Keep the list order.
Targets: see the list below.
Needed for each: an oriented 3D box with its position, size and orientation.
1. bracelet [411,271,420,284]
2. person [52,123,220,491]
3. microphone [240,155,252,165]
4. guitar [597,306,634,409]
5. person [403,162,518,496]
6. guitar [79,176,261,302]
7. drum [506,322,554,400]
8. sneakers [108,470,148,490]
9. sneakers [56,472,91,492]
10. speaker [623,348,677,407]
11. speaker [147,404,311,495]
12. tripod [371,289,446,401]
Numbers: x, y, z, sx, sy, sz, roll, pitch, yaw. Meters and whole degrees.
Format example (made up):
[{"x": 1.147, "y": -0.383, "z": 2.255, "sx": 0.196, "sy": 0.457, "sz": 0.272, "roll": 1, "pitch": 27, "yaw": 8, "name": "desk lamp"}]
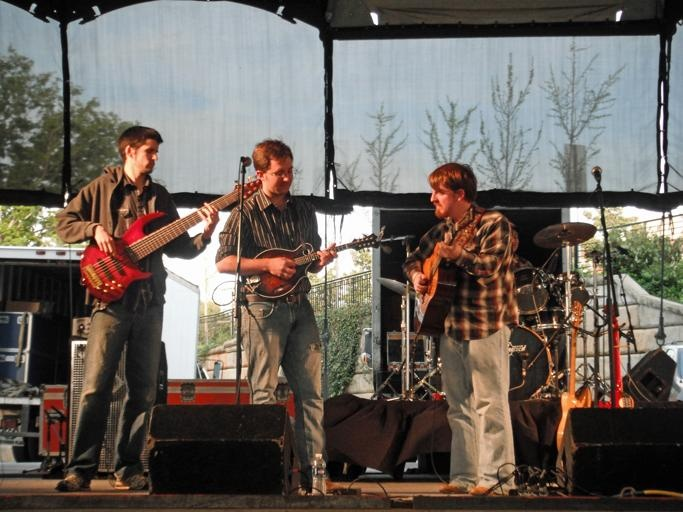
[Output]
[{"x": 0.608, "y": 0.183, "z": 9.861, "sx": 0.070, "sy": 0.072, "sz": 0.070, "roll": 3, "pitch": -25, "yaw": 4, "name": "bracelet"}, {"x": -1.612, "y": 0.400, "z": 9.833, "sx": 1.195, "sy": 2.954, "sz": 0.881, "roll": 2, "pitch": -3, "yaw": -24, "name": "person"}, {"x": -0.762, "y": -0.761, "z": 9.813, "sx": 0.073, "sy": 0.079, "sz": 0.112, "roll": 7, "pitch": 5, "yaw": 19, "name": "microphone"}, {"x": 2.484, "y": 1.056, "z": 11.033, "sx": 0.421, "sy": 1.371, "sz": 0.447, "roll": 1, "pitch": 4, "yaw": 14, "name": "guitar"}, {"x": 0.963, "y": 0.678, "z": 9.711, "sx": 0.967, "sy": 2.701, "sz": 0.785, "roll": -1, "pitch": -4, "yaw": 18, "name": "person"}, {"x": -1.616, "y": 0.015, "z": 9.856, "sx": 0.910, "sy": 0.764, "sz": 0.221, "roll": 1, "pitch": -2, "yaw": -10, "name": "guitar"}, {"x": 1.863, "y": 1.031, "z": 11.983, "sx": 0.428, "sy": 0.721, "sz": 0.419, "roll": 2, "pitch": 2, "yaw": 0, "name": "drum"}, {"x": -1.703, "y": 1.832, "z": 9.844, "sx": 0.282, "sy": 0.126, "sz": 0.135, "roll": -6, "pitch": -9, "yaw": 11, "name": "sneakers"}, {"x": -2.073, "y": 1.796, "z": 9.552, "sx": 0.251, "sy": 0.114, "sz": 0.119, "roll": 12, "pitch": -26, "yaw": -15, "name": "sneakers"}, {"x": 3.165, "y": 1.274, "z": 12.467, "sx": 0.396, "sy": 0.400, "sz": 0.733, "roll": -44, "pitch": -7, "yaw": 21, "name": "speaker"}, {"x": -0.945, "y": 1.450, "z": 9.293, "sx": 1.039, "sy": 0.648, "sz": 0.785, "roll": 1, "pitch": 1, "yaw": -13, "name": "speaker"}, {"x": 0.705, "y": 0.964, "z": 12.690, "sx": 0.553, "sy": 1.322, "sz": 0.518, "roll": 3, "pitch": 1, "yaw": 41, "name": "tripod"}]
